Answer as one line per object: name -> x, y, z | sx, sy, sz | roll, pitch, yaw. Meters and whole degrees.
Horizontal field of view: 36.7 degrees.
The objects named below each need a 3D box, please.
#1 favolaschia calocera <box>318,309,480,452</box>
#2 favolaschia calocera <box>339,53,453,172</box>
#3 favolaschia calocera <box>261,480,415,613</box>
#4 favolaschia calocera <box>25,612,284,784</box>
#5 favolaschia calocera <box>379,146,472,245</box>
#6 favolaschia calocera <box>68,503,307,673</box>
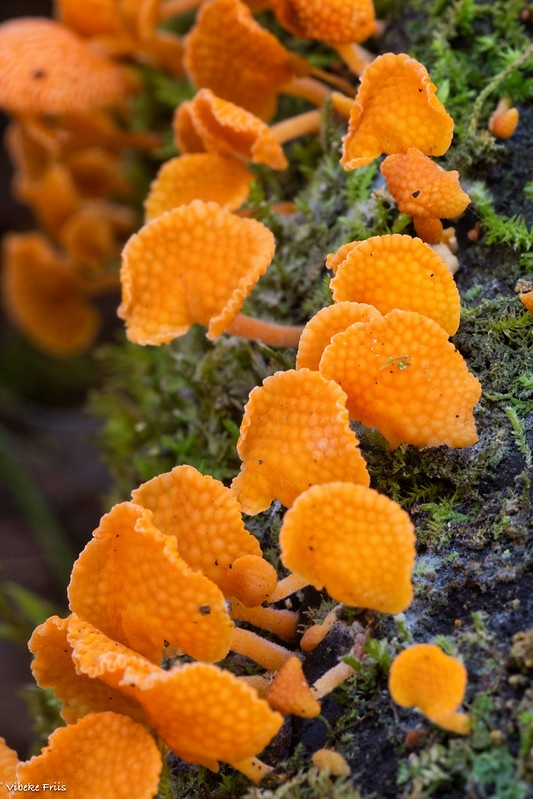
favolaschia calocera -> 0.270, -0.037, 1.505 | 0.314, 0.197, 0.156 | 26, 59, 12
favolaschia calocera -> 0.258, -0.584, 1.635 | 0.230, 0.086, 0.243 | -5, 96, 21
favolaschia calocera -> 0.136, 0.261, 1.357 | 0.231, 0.233, 0.158 | 14, 57, 4
favolaschia calocera -> -0.202, 0.485, 1.353 | 0.387, 0.352, 0.141 | 5, 92, 6
favolaschia calocera -> 0.316, -0.422, 1.663 | 0.195, 0.197, 0.121 | 44, 94, 0
favolaschia calocera -> -0.157, 0.294, 1.474 | 0.134, 0.277, 0.327 | -20, 67, -31
